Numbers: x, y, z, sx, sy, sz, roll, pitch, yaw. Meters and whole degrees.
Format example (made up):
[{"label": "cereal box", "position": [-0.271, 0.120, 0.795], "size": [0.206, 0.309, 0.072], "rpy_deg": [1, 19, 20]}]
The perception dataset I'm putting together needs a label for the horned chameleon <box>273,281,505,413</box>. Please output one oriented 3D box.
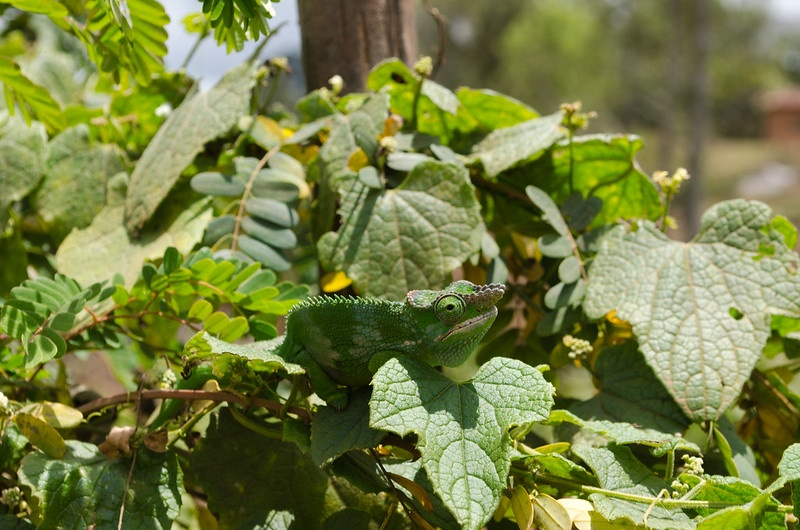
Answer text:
[{"label": "horned chameleon", "position": [-0.093, 0.178, 2.500], "size": [0.592, 0.285, 0.232], "rpy_deg": [1, 0, 0]}]
